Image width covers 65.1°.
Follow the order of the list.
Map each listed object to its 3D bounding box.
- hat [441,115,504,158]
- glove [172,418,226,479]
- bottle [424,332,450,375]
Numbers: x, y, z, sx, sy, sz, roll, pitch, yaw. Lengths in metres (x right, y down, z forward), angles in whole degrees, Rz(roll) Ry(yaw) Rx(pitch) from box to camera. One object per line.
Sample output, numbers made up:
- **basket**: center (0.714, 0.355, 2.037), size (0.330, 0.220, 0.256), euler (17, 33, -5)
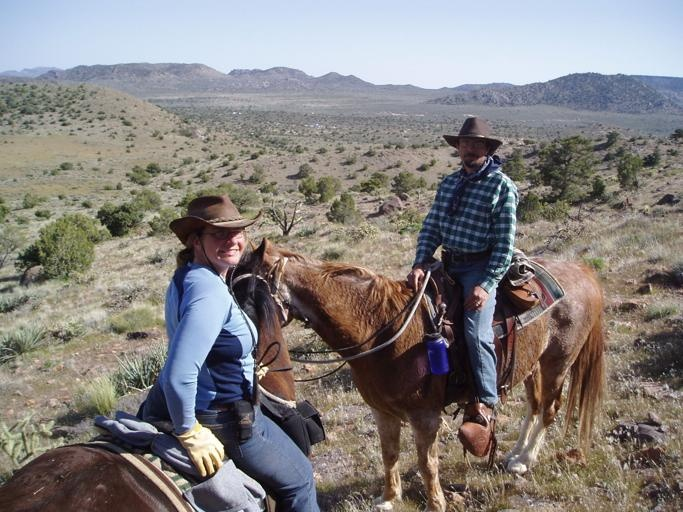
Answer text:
- **hat**: center (1.658, -1.512, 6.472), size (0.559, 0.223, 0.612), euler (3, -13, 16)
- **glove**: center (-1.162, 1.609, 4.462), size (0.386, 0.485, 0.160), euler (-38, 14, -25)
- **bottle**: center (1.052, 1.077, 5.834), size (0.268, 0.498, 0.216), euler (3, 19, 6)
